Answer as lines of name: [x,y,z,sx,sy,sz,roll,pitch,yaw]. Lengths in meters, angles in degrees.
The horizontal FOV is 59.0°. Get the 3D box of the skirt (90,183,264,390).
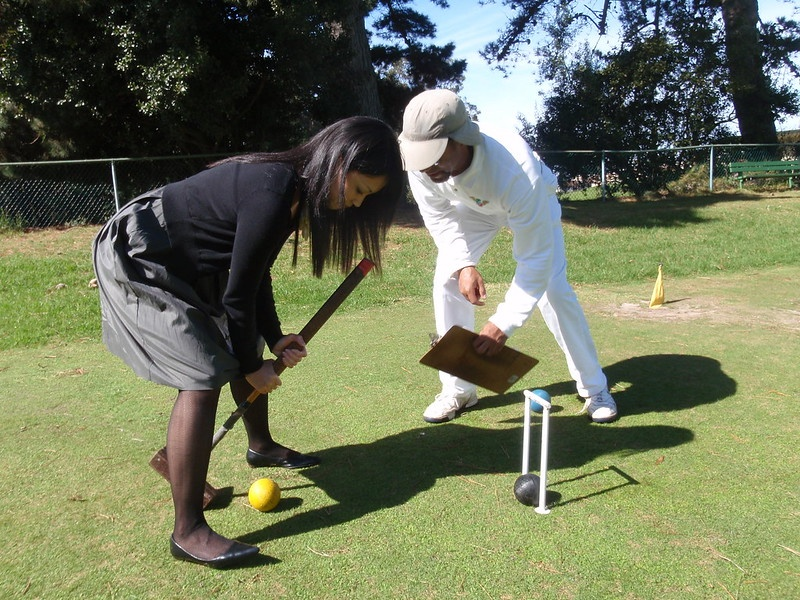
skirt: [-1.295,-0.016,3.925,1.086,0.729,0.771,38,43,21]

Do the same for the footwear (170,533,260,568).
footwear: [-1.024,1.375,3.850,0.478,0.155,0.180,2,-5,0]

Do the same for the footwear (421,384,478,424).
footwear: [0.362,0.766,5.241,0.414,0.199,0.185,-13,22,-37]

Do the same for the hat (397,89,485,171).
hat: [0.264,-0.994,4.392,0.475,0.338,0.635,14,40,24]

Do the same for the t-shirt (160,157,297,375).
t-shirt: [-0.898,-0.166,3.829,0.731,1.152,0.346,1,8,22]

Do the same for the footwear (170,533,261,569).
footwear: [-0.998,1.348,3.853,0.486,0.157,0.181,2,-6,-2]

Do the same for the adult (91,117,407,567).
adult: [-0.876,0.148,4.157,1.615,2.390,1.345,5,17,-3]

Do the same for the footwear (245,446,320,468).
footwear: [-0.769,1.031,4.633,0.473,0.161,0.177,-1,-3,-4]

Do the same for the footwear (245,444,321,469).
footwear: [-0.768,1.024,4.650,0.490,0.189,0.183,-1,-3,-4]

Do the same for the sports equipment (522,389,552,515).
sports equipment: [0.820,0.870,4.268,0.165,0.720,0.550,0,8,11]

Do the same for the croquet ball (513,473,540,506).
croquet ball: [0.752,1.108,4.215,0.162,0.198,0.167,5,0,0]

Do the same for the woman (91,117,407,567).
woman: [-0.889,0.133,4.175,1.604,2.425,1.407,5,19,-2]

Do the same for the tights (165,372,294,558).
tights: [-1.027,0.945,3.783,0.441,0.947,0.185,0,8,13]
